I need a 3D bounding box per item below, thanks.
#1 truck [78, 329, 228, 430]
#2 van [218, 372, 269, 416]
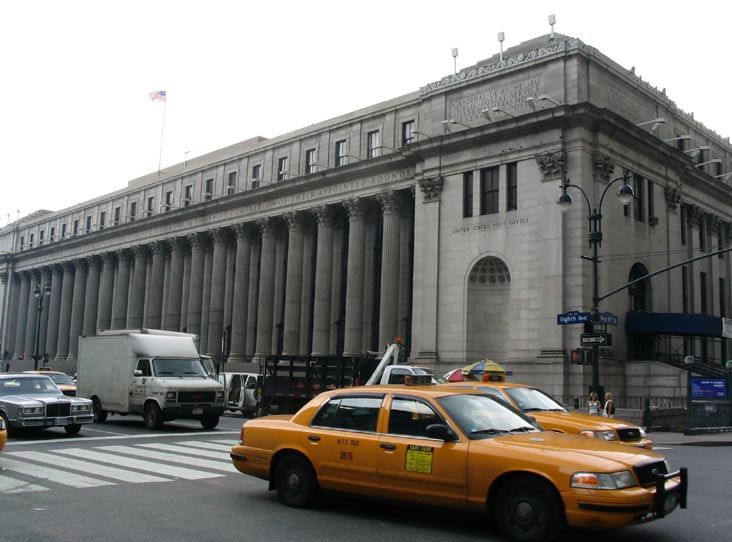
[{"bbox_3d":[-8.046,4.051,28.506,5.977,3.268,2.951,-10,-13,43],"label":"truck"},{"bbox_3d":[-5.590,5.652,34.542,1.991,1.428,2.612,7,-15,-30],"label":"van"}]
